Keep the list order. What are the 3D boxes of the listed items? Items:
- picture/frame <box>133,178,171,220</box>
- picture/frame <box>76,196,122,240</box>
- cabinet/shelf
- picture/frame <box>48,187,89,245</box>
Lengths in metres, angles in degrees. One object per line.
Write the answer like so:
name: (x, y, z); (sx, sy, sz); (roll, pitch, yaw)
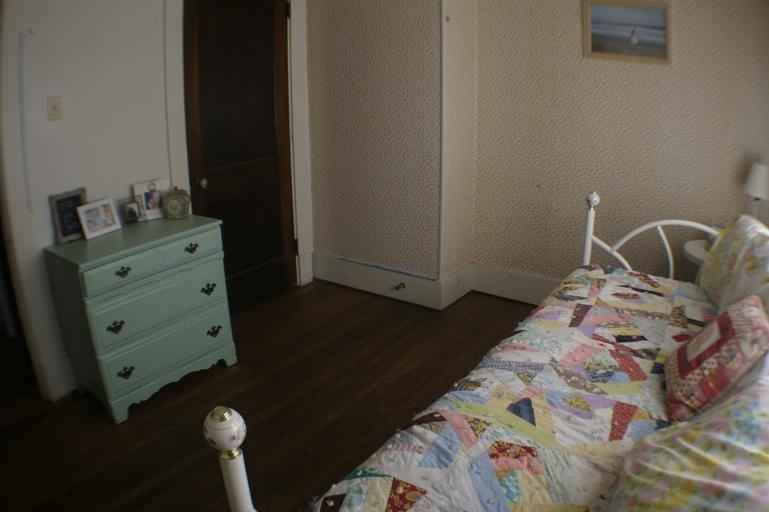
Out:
picture/frame: (-1.509, -0.353, 3.375); (0.025, 0.248, 0.257); (0, 9, 40)
picture/frame: (-1.732, -0.218, 3.154); (0.021, 0.194, 0.231); (-7, 13, 43)
cabinet/shelf: (-1.534, 0.341, 3.351); (0.589, 1.019, 0.945); (17, 26, 37)
picture/frame: (-1.850, -0.234, 3.094); (0.203, 0.292, 0.096); (-14, 22, -31)
